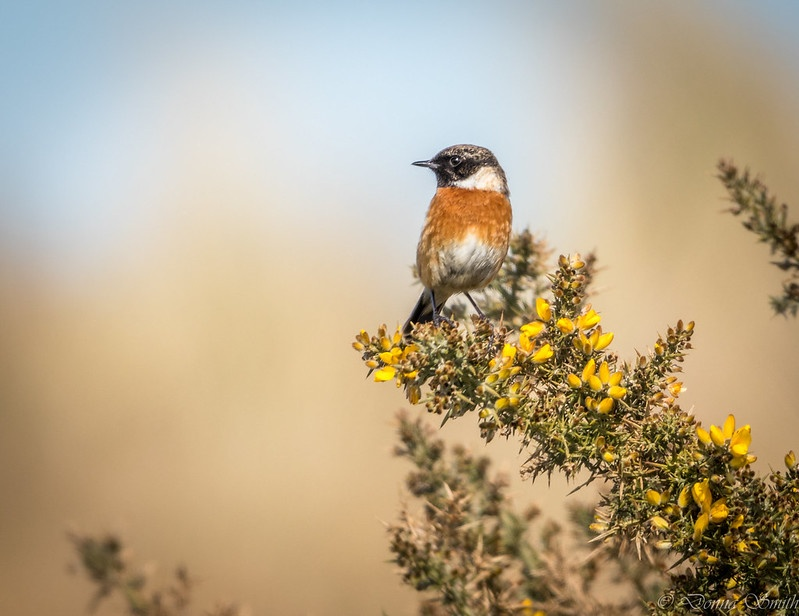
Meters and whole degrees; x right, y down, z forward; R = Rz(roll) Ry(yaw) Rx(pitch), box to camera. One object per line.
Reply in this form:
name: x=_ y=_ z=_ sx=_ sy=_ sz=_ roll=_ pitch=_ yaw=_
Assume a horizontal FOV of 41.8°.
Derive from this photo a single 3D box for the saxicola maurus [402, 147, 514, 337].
saxicola maurus: x=0.295 y=-0.271 z=4.497 sx=0.395 sy=0.857 sz=0.393 roll=1 pitch=-35 yaw=5
